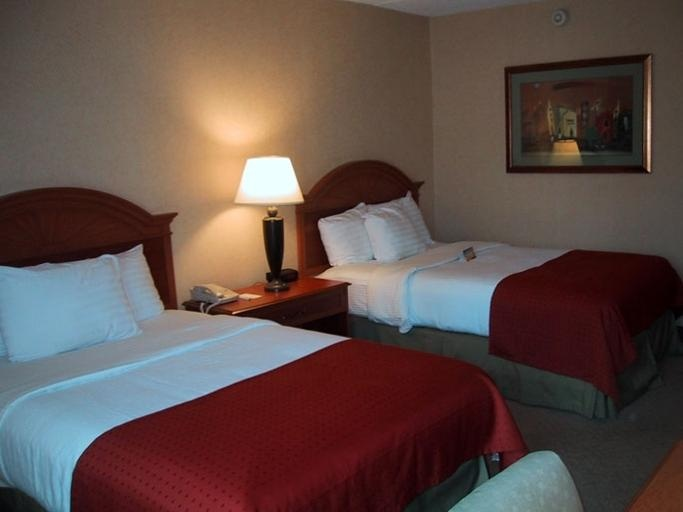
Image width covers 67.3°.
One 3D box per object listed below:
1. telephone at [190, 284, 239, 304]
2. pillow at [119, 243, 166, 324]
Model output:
[{"bbox_3d":[-1.029,0.296,4.096,0.242,0.094,0.190,5,6,27],"label":"telephone"},{"bbox_3d":[-1.418,0.184,3.598,0.117,0.426,0.443,-17,-1,19],"label":"pillow"}]
